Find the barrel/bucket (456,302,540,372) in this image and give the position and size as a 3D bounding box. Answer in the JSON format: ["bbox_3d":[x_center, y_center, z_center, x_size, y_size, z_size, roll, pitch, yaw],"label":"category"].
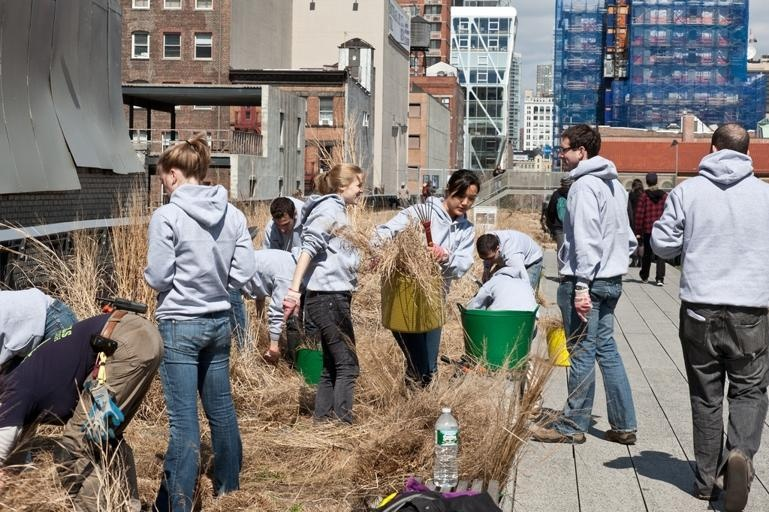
[{"bbox_3d":[1.168,0.754,8.935,0.730,0.666,0.752,-2,10,0],"label":"barrel/bucket"}]

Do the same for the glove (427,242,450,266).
[{"bbox_3d":[0.486,-0.015,7.758,0.165,0.202,0.141,-5,7,15],"label":"glove"}]

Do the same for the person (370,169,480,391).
[{"bbox_3d":[0.342,0.496,8.157,0.957,2.603,0.733,-5,19,-29],"label":"person"}]

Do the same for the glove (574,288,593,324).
[{"bbox_3d":[1.776,0.450,7.661,0.076,0.280,0.178,1,16,32],"label":"glove"}]

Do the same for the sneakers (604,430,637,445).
[{"bbox_3d":[2.124,1.630,7.780,0.248,0.139,0.110,10,11,43],"label":"sneakers"}]

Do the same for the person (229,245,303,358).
[{"bbox_3d":[-1.114,0.507,8.849,0.837,1.183,0.844,-10,22,-6],"label":"person"}]

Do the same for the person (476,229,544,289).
[{"bbox_3d":[1.492,0.069,10.363,0.511,0.553,0.733,24,-18,46],"label":"person"}]

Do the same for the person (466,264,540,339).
[{"bbox_3d":[1.303,0.372,9.055,0.659,0.686,0.414,-11,35,-14],"label":"person"}]

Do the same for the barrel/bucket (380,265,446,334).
[{"bbox_3d":[0.268,0.383,7.909,0.479,0.683,0.552,0,-4,16],"label":"barrel/bucket"}]

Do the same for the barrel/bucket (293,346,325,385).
[{"bbox_3d":[-0.766,1.101,8.909,0.355,0.437,0.287,-1,-6,24],"label":"barrel/bucket"}]

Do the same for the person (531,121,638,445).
[{"bbox_3d":[1.911,0.272,8.011,0.889,2.920,0.901,5,-6,-33],"label":"person"}]

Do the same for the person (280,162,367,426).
[{"bbox_3d":[-0.541,0.336,7.859,0.663,2.275,0.803,0,10,-2],"label":"person"}]

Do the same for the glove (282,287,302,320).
[{"bbox_3d":[-0.820,0.436,7.581,0.175,0.308,0.119,-5,9,-11],"label":"glove"}]

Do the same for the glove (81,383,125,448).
[{"bbox_3d":[-2.040,1.157,6.192,0.315,0.419,0.169,-40,14,-20],"label":"glove"}]

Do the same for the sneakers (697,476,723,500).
[{"bbox_3d":[2.578,1.849,6.883,0.198,0.253,0.139,-2,2,2],"label":"sneakers"}]
